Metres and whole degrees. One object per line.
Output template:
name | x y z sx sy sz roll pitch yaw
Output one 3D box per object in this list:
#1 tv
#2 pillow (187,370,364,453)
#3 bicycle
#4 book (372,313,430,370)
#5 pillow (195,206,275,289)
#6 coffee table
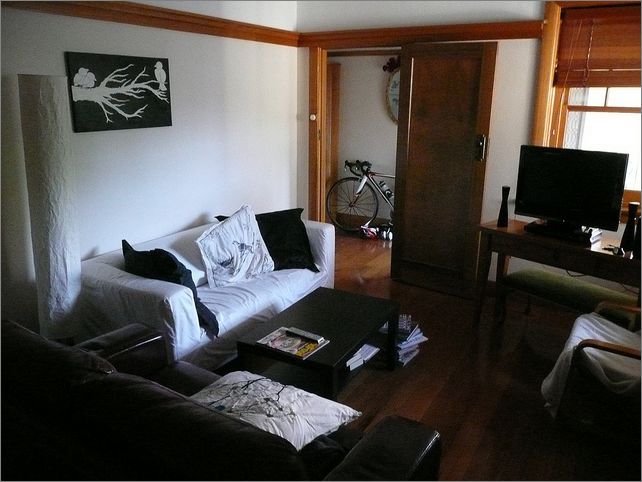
tv | 1.804 -0.308 3.514 0.631 0.607 0.289 18 31 40
pillow | -0.129 0.622 2.104 0.423 0.104 0.432 15 7 26
bicycle | 0.546 -0.599 6.570 0.879 0.941 0.706 14 14 24
book | 0.592 0.718 3.533 0.365 0.124 0.375 9 27 32
pillow | -0.667 0.068 3.763 0.170 0.544 0.592 -13 9 44
coffee table | 0.018 0.546 3.135 0.538 0.401 0.829 11 23 28
